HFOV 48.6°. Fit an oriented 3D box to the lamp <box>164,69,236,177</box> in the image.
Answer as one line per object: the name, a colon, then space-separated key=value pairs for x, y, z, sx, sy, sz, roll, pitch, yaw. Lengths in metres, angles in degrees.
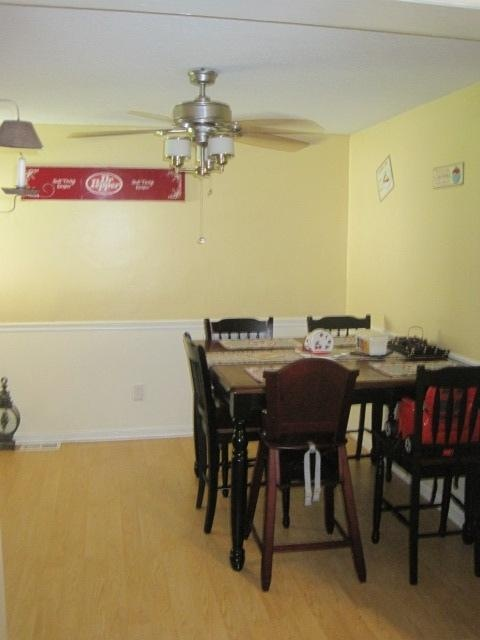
lamp: x=-0.097 y=-0.515 z=1.500 sx=0.232 sy=0.285 sz=0.239 roll=0 pitch=-6 yaw=9

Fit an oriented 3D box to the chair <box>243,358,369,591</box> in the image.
chair: x=0.220 y=0.439 z=1.684 sx=0.375 sy=0.714 sz=0.413 roll=2 pitch=8 yaw=-1
